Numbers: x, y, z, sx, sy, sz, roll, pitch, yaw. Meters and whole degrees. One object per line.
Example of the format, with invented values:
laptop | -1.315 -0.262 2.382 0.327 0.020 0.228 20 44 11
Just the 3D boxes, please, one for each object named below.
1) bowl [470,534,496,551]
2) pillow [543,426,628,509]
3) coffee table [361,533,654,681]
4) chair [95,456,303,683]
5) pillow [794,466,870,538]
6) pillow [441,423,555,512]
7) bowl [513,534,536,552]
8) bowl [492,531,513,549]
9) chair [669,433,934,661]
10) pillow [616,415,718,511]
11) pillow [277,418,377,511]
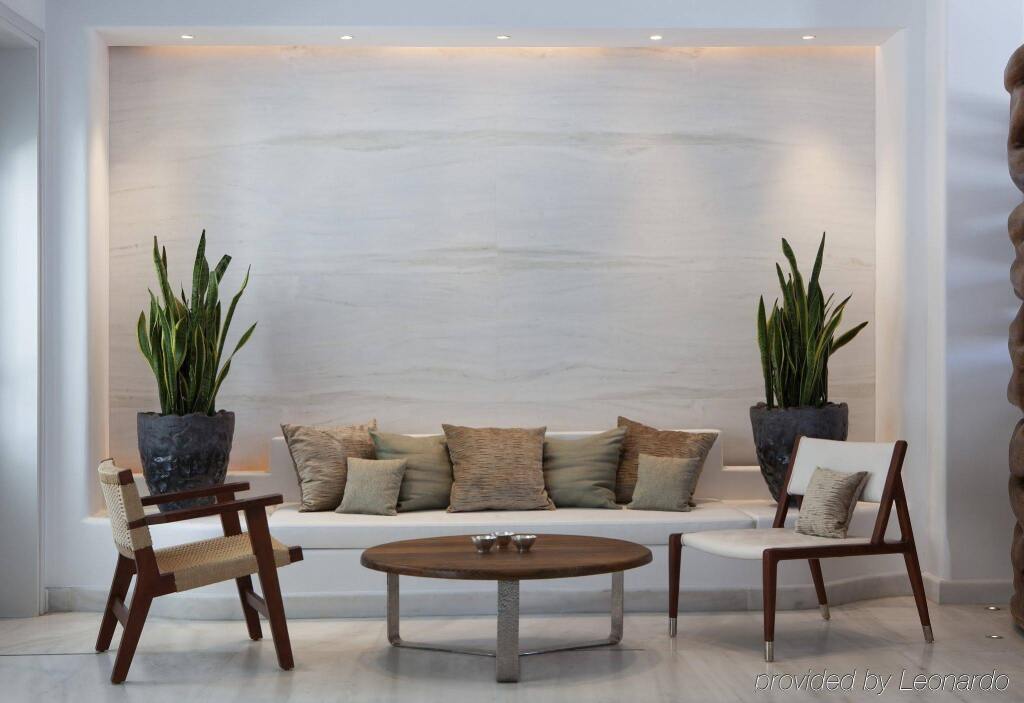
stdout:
bowl | -0.137 0.974 4.485 0.089 0.042 0.087 2 -4 0
pillow | 0.416 0.748 5.554 0.552 0.481 0.284 -5 -2 29
coffee table | -0.030 1.283 4.508 1.436 0.600 0.756 -1 7 -11
chair | -1.614 1.101 4.523 0.952 0.961 0.688 2 -4 -32
pillow | 1.731 0.817 4.759 0.115 0.355 0.372 27 -11 -38
pillow | -0.090 0.725 5.455 0.627 0.511 0.316 0 7 0
bowl | 0.062 0.974 4.480 0.101 0.054 0.091 1 -3 -19
bowl | -0.045 0.981 4.573 0.085 0.059 0.084 1 -1 0
chair | 1.591 1.039 4.863 1.187 1.038 0.926 1 -4 -18
pillow | 0.897 0.713 5.512 0.544 0.514 0.167 4 -13 24
pillow | -1.098 0.725 5.517 0.676 0.550 0.322 6 -4 -38
